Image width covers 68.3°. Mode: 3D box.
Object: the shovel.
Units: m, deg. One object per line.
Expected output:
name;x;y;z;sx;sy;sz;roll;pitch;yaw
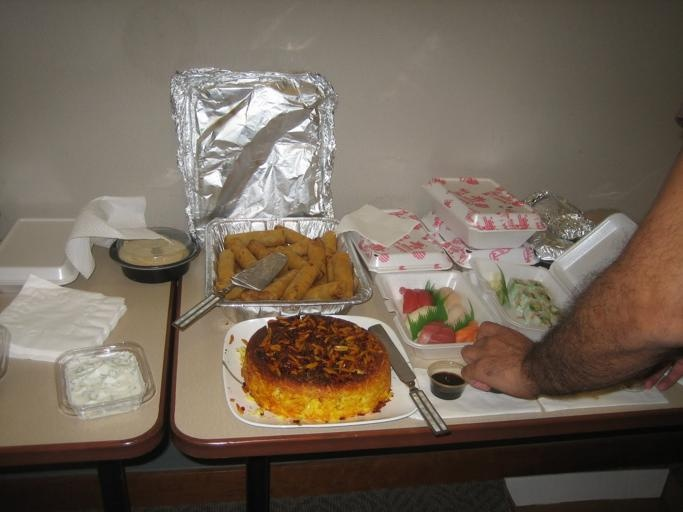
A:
shovel;-0.328;0.095;1.594;0.132;0.035;0.507;29;36;18

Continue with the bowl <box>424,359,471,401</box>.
bowl;0.303;0.358;1.432;0.119;0.060;0.117;2;19;-1

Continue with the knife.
knife;0.178;0.336;1.454;0.054;0.049;0.464;-19;31;-8

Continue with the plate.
plate;-0.057;0.288;1.304;0.409;0.071;0.313;0;46;-14

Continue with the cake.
cake;-0.081;0.316;1.507;0.439;0.123;0.419;2;23;-12

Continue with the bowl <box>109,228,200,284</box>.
bowl;-0.661;0.002;1.780;0.295;0.109;0.288;3;24;-2
